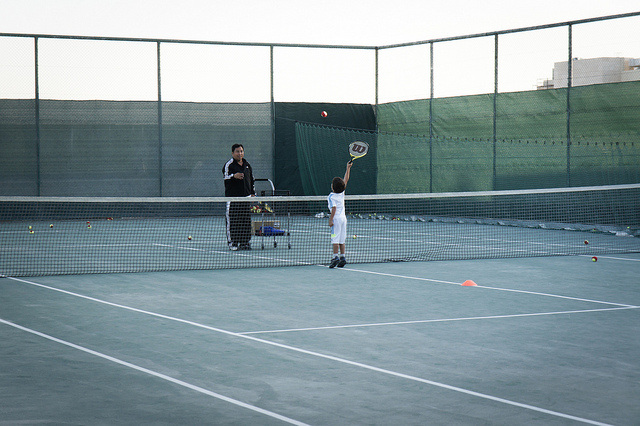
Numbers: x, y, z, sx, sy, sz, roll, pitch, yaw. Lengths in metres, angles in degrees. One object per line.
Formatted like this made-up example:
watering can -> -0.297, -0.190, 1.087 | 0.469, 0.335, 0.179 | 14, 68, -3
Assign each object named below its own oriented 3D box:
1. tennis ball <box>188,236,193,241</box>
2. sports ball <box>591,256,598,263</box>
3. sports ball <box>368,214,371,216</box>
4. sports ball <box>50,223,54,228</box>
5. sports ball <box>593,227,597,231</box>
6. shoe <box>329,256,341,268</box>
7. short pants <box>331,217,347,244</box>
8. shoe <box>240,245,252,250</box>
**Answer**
tennis ball -> -3.528, 0.692, 16.024 | 0.139, 0.091, 0.128 | -1, -2, 0
sports ball -> 5.566, 0.949, 11.947 | 0.086, 0.095, 0.104 | 3, -1, -17
sports ball -> 1.911, 0.073, 22.608 | 0.101, 0.090, 0.095 | 1, 2, 0
sports ball -> -8.129, 0.387, 17.852 | 0.111, 0.116, 0.185 | -11, -12, -14
sports ball -> 8.012, 0.462, 17.165 | 0.098, 0.108, 0.127 | 1, 3, 22
shoe -> 0.290, 0.945, 11.292 | 0.215, 0.214, 0.100 | 0, 3, 0
short pants -> 0.352, 0.339, 11.266 | 0.273, 0.538, 0.328 | 0, 3, -1
shoe -> -1.731, 0.797, 13.661 | 0.216, 0.116, 0.167 | 1, 2, 9
